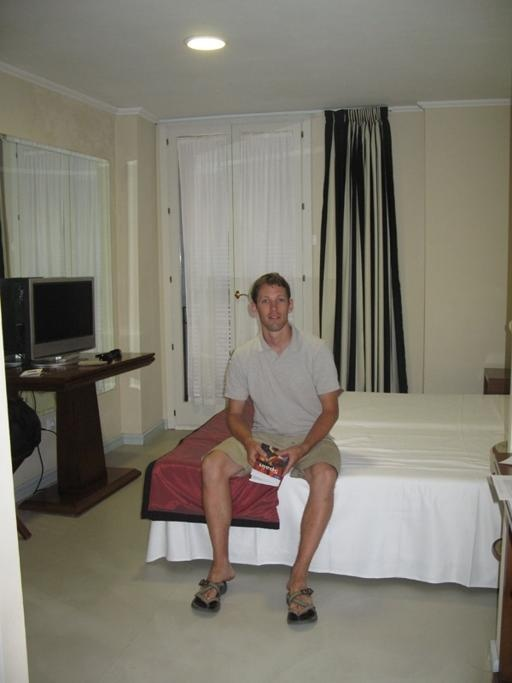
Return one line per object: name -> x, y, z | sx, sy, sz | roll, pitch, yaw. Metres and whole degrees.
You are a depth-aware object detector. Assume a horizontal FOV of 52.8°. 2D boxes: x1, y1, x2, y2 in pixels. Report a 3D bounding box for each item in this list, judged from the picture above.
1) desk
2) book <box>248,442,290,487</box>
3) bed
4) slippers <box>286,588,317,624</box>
desk -> -0.995, 0.254, 3.006 | 0.542, 0.938, 1.192 | 0, 6, 12
book -> 0.051, 0.462, 1.921 | 0.137, 0.044, 0.153 | 21, 43, 17
bed -> 0.434, 0.619, 2.052 | 0.863, 0.259, 0.959 | 0, 4, 11
slippers -> 0.153, 0.887, 1.759 | 0.098, 0.110, 0.121 | -1, 1, 3
